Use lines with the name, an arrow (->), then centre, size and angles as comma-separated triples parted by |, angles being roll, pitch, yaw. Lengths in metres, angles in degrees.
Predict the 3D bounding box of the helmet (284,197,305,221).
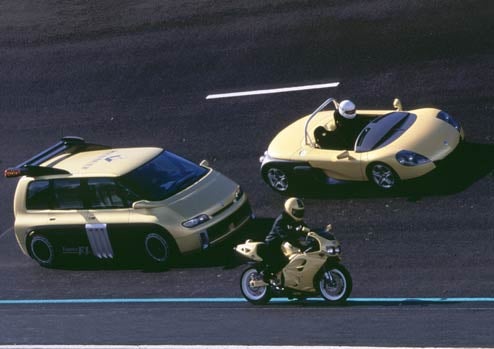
helmet -> 1.040, 0.716, 22.096 | 0.567, 0.516, 0.434 | 12, 25, 24

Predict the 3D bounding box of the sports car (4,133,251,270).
sports car -> -2.966, 0.595, 24.002 | 5.276, 2.297, 2.960 | -1, 31, 18
